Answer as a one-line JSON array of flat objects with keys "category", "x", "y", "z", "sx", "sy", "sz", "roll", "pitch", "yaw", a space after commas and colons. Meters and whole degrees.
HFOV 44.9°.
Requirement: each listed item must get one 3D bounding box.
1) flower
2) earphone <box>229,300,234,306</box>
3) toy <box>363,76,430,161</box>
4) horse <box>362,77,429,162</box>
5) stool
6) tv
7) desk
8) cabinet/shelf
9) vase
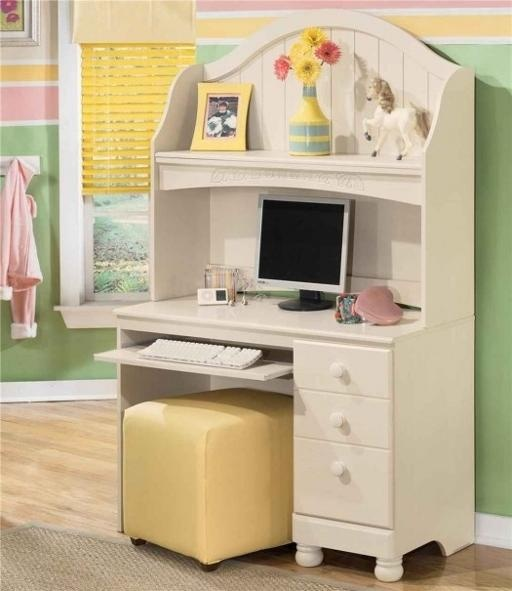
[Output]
[{"category": "flower", "x": 0.164, "y": -0.772, "z": 2.021, "sx": 0.209, "sy": 0.192, "sz": 0.140, "roll": 14, "pitch": 7, "yaw": 27}, {"category": "earphone", "x": -0.085, "y": 0.023, "z": 2.148, "sx": 0.021, "sy": 0.019, "sz": 0.014, "roll": 0, "pitch": -2, "yaw": 14}, {"category": "toy", "x": 0.390, "y": -0.540, "z": 1.889, "sx": 0.165, "sy": 0.290, "sz": 0.224, "roll": -4, "pitch": 5, "yaw": -43}, {"category": "horse", "x": 0.390, "y": -0.540, "z": 1.889, "sx": 0.165, "sy": 0.290, "sz": 0.224, "roll": -4, "pitch": 5, "yaw": -43}, {"category": "stool", "x": -0.169, "y": 0.511, "z": 1.959, "sx": 0.506, "sy": 0.461, "sz": 0.482, "roll": 0, "pitch": -1, "yaw": -18}, {"category": "tv", "x": 0.168, "y": -0.153, "z": 2.057, "sx": 0.402, "sy": 0.365, "sz": 0.208, "roll": 5, "pitch": 6, "yaw": 35}, {"category": "desk", "x": 0.115, "y": 0.330, "z": 2.041, "sx": 1.400, "sy": 0.900, "sz": 0.787, "roll": 0, "pitch": 0, "yaw": 37}, {"category": "cabinet/shelf", "x": 0.196, "y": -0.414, "z": 1.976, "sx": 1.124, "sy": 1.005, "sz": 0.337, "roll": 5, "pitch": 9, "yaw": 38}, {"category": "vase", "x": 0.167, "y": -0.547, "z": 1.948, "sx": 0.126, "sy": 0.224, "sz": 0.083, "roll": 0, "pitch": 4, "yaw": 2}]
